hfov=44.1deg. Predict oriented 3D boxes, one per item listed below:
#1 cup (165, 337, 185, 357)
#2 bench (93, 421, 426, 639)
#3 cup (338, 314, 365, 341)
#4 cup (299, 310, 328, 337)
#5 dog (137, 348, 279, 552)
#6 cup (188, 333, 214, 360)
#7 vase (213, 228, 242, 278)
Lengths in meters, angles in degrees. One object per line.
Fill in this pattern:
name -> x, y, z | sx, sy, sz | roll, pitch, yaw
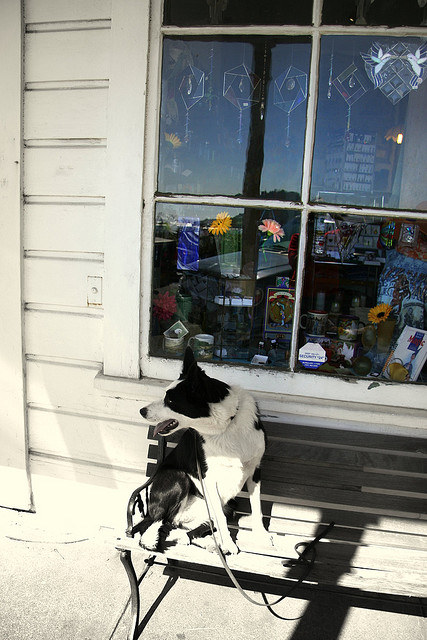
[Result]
cup -> -0.184, 0.126, 2.494 | 0.090, 0.087, 0.091 | 1, 3, 0
bench -> 0.272, 0.833, 2.109 | 1.215, 0.705, 0.662 | 3, 10, 9
cup -> 0.596, 0.031, 2.324 | 0.135, 0.118, 0.081 | -1, 4, -7
cup -> 0.444, 0.013, 2.322 | 0.133, 0.117, 0.086 | 1, 12, 16
dog -> -0.004, 0.482, 1.961 | 0.521, 0.778, 0.309 | 3, 10, 7
cup -> -0.049, 0.125, 2.455 | 0.137, 0.121, 0.088 | 1, 3, 17
vase -> 0.069, -0.334, 2.396 | 0.139, 0.229, 0.151 | -12, 30, -24
